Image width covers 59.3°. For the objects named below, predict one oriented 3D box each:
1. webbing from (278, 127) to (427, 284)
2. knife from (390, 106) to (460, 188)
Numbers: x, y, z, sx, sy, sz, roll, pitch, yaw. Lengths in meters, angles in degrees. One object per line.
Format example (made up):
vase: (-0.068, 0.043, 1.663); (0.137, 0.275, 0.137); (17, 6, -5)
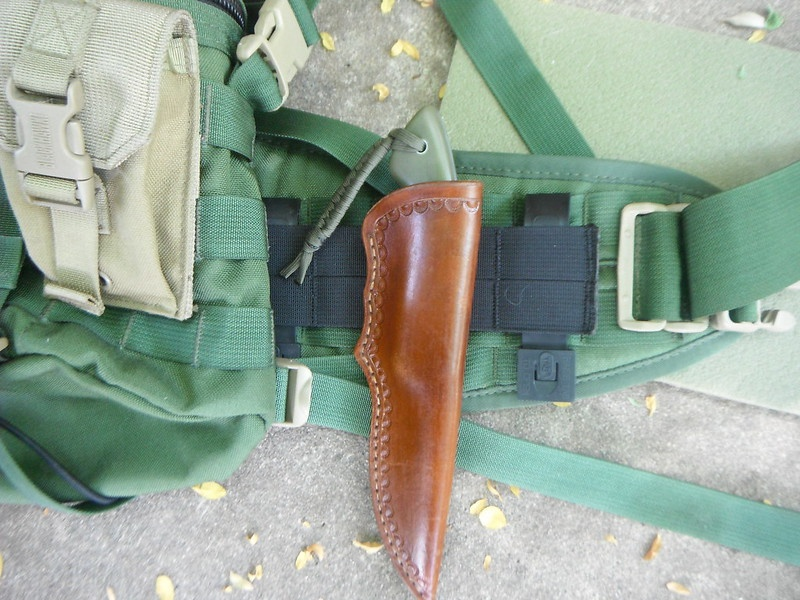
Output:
webbing: (-0.160, -0.235, 1.451); (0.105, 1.020, 0.303); (11, 95, -9)
knife: (0.033, -0.270, 1.129); (0.103, 0.048, 0.130); (-7, 82, -3)
